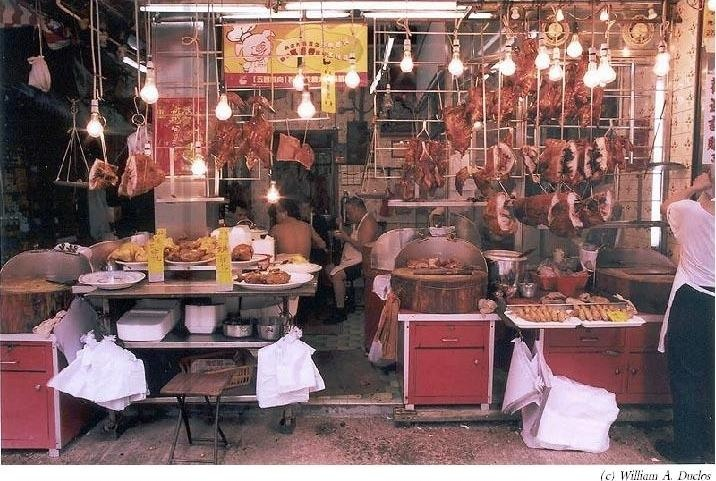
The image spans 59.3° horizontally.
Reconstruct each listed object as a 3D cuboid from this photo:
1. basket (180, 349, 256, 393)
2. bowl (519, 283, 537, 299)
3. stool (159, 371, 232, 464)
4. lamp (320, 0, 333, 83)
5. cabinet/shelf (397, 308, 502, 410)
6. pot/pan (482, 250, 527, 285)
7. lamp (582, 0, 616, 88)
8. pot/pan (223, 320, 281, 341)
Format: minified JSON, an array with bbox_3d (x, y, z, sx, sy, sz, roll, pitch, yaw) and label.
[{"bbox_3d":[-1.548,1.456,7.118,0.662,0.253,0.439,-1,1,-30],"label":"basket"},{"bbox_3d":[1.920,0.573,7.118,0.191,0.133,0.165,1,5,-10],"label":"bowl"},{"bbox_3d":[-1.679,1.830,6.655,0.697,0.891,0.881,-2,12,-12],"label":"stool"},{"bbox_3d":[-0.392,-2.231,7.556,0.158,0.698,0.221,6,13,24],"label":"lamp"},{"bbox_3d":[0.946,1.257,7.466,1.321,1.274,0.955,0,-3,0],"label":"cabinet/shelf"},{"bbox_3d":[1.731,0.299,7.457,0.461,0.370,0.627,2,12,8],"label":"pot/pan"},{"bbox_3d":[2.655,-2.138,6.883,0.293,0.942,1.399,5,13,20],"label":"lamp"},{"bbox_3d":[-1.159,0.987,6.904,0.462,0.127,0.281,-1,2,0],"label":"pot/pan"}]
